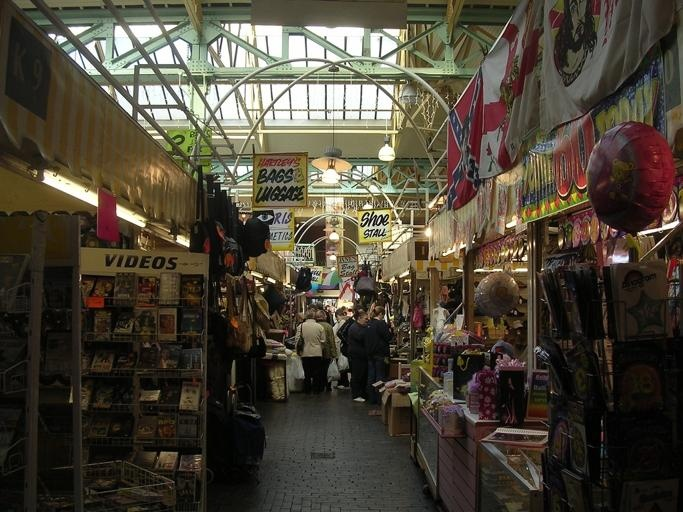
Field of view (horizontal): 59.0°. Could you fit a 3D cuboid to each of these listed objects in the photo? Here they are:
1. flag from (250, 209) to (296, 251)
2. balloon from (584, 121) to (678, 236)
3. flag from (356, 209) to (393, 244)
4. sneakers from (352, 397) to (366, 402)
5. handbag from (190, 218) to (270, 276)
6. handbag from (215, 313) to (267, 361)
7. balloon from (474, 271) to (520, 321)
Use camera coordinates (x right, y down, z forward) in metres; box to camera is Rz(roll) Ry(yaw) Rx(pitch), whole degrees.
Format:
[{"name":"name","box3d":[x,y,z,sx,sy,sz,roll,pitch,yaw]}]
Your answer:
[{"name":"flag","box3d":[-1.411,-0.555,12.757,0.924,1.086,0.036,6,-20,-18]},{"name":"balloon","box3d":[1.590,-0.427,3.329,0.427,0.597,0.230,-1,-3,25]},{"name":"flag","box3d":[1.068,-0.920,18.747,1.201,1.433,0.132,-2,-10,2]},{"name":"sneakers","box3d":[0.382,2.944,12.397,0.225,0.116,0.083,-3,-2,16]},{"name":"handbag","box3d":[-1.304,-0.116,6.840,0.585,0.681,0.256,3,-3,-27]},{"name":"handbag","box3d":[-1.238,0.983,7.327,0.616,0.762,0.447,0,-5,-17]},{"name":"balloon","box3d":[1.844,0.476,7.120,0.456,0.539,0.178,-2,-6,-2]}]
